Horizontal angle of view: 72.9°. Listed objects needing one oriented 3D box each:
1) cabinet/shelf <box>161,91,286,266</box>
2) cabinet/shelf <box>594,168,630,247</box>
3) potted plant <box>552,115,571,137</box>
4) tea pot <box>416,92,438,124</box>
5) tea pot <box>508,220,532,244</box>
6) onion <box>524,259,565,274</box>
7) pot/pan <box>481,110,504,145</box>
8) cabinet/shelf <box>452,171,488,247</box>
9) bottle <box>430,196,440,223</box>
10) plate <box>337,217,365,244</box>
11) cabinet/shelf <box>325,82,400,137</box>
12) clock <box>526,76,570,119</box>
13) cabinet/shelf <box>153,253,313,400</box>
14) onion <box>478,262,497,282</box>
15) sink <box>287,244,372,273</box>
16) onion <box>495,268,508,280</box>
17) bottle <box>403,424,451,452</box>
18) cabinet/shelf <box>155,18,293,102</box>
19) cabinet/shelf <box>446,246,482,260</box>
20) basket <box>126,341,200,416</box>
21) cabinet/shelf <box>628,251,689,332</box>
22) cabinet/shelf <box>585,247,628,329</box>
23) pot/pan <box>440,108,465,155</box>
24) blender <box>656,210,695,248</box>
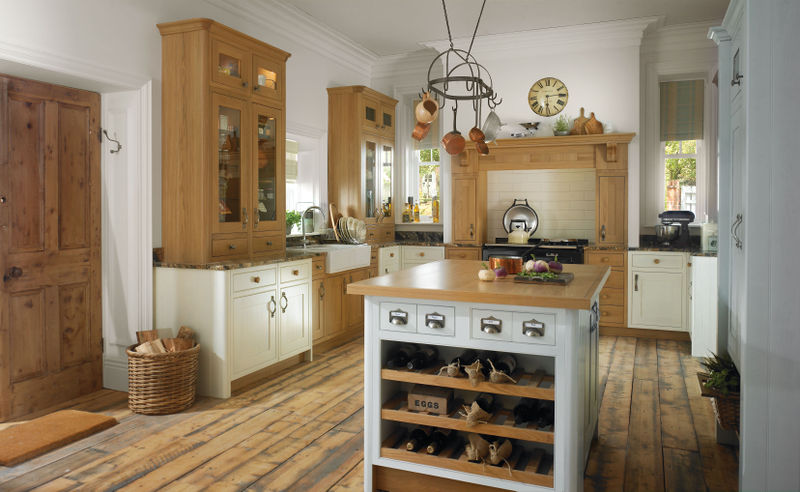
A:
[{"bbox_3d":[-1.782,-0.680,5.478,1.228,1.661,0.711,-5,15,-22],"label":"cabinet/shelf"},{"bbox_3d":[2.742,-0.463,7.061,0.427,0.992,0.109,0,1,0],"label":"cabinet/shelf"},{"bbox_3d":[2.177,-1.571,7.192,0.266,0.324,0.264,5,9,38],"label":"potted plant"},{"bbox_3d":[0.220,-1.108,4.398,0.156,0.239,0.362,1,13,2],"label":"tea pot"},{"bbox_3d":[1.658,-0.187,7.559,0.380,0.348,0.273,-1,0,20],"label":"tea pot"},{"bbox_3d":[1.097,0.163,4.154,0.222,0.088,0.130,-1,0,13],"label":"onion"},{"bbox_3d":[0.809,-1.044,4.798,0.141,0.280,0.524,3,13,9],"label":"pot/pan"},{"bbox_3d":[0.953,-0.510,7.566,0.489,0.972,0.341,2,14,4],"label":"cabinet/shelf"},{"bbox_3d":[0.547,-0.554,8.321,0.128,0.373,0.209,1,14,0],"label":"bottle"},{"bbox_3d":[-0.656,-0.202,7.243,0.368,0.337,0.329,3,14,11],"label":"plate"},{"bbox_3d":[-0.508,-1.769,8.031,0.605,0.842,1.400,3,7,22],"label":"cabinet/shelf"},{"bbox_3d":[2.012,-1.985,7.281,0.652,0.605,0.044,-1,0,17],"label":"clock"},{"bbox_3d":[-1.706,0.809,5.950,0.955,1.258,1.553,0,2,20],"label":"cabinet/shelf"},{"bbox_3d":[0.653,0.203,4.155,0.133,0.139,0.141,-7,2,-37],"label":"onion"},{"bbox_3d":[-0.819,0.131,6.659,0.453,0.205,0.615,1,3,26],"label":"sink"},{"bbox_3d":[0.763,0.207,4.110,0.077,0.075,0.080,29,-24,-36],"label":"onion"},{"bbox_3d":[0.209,1.397,3.944,0.230,0.096,0.387,-1,-1,18],"label":"bottle"},{"bbox_3d":[-1.821,-1.849,5.468,0.507,0.799,1.375,2,2,26],"label":"cabinet/shelf"},{"bbox_3d":[0.878,0.099,7.560,0.374,0.318,0.209,0,-1,15],"label":"cabinet/shelf"},{"bbox_3d":[-2.264,1.202,5.087,0.577,0.485,0.582,-9,-6,19],"label":"basket"},{"bbox_3d":[3.474,0.575,7.068,0.961,0.987,0.906,1,-2,22],"label":"cabinet/shelf"},{"bbox_3d":[2.682,0.549,7.213,0.653,0.962,0.590,2,-2,-11],"label":"cabinet/shelf"},{"bbox_3d":[0.435,-0.927,4.375,0.178,0.404,0.108,-18,43,-16],"label":"pot/pan"},{"bbox_3d":[3.524,-0.231,6.941,0.598,0.555,0.354,2,-1,21],"label":"blender"}]
